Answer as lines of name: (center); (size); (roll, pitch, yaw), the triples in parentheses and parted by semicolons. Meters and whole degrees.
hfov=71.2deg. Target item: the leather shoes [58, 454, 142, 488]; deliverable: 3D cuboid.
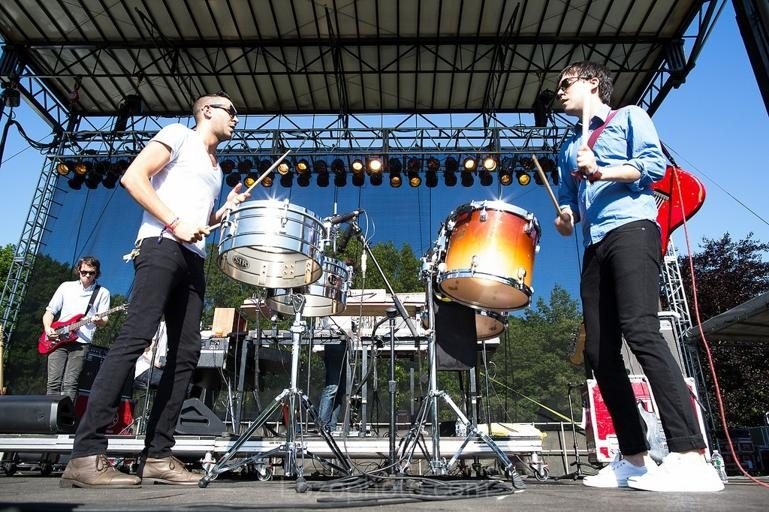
leather shoes: (-2.214, 1.669, 4.235); (0.557, 0.281, 0.248); (0, -19, -4)

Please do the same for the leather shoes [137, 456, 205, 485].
leather shoes: (-1.706, 1.720, 4.372); (0.514, 0.249, 0.202); (4, -17, -15)

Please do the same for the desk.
desk: (-0.159, 0.729, 7.205); (3.062, 1.575, 2.317); (2, -53, -1)

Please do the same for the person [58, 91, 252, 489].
person: (-1.820, 0.161, 4.483); (0.929, 3.222, 0.977); (12, -25, -26)

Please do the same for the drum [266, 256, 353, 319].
drum: (-0.847, 0.443, 6.458); (1.000, 0.437, 1.096); (-5, -24, -2)

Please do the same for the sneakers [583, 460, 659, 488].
sneakers: (1.798, 1.712, 4.231); (0.568, 0.253, 0.211); (-5, -31, 8)

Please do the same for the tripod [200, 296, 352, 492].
tripod: (-0.871, 1.229, 5.040); (1.545, 1.693, 1.518); (-8, -17, 30)

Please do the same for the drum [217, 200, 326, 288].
drum: (-1.135, -0.214, 5.397); (1.086, 0.530, 1.070); (0, -10, 0)

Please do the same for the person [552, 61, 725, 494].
person: (1.851, 0.037, 4.238); (0.867, 3.343, 1.170); (-8, -24, 19)

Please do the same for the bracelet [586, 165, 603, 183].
bracelet: (1.592, -0.644, 4.089); (0.102, 0.106, 0.135); (10, -21, 24)

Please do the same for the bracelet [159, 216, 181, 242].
bracelet: (-1.723, -0.229, 4.302); (0.211, 0.107, 0.155); (-33, -3, -35)

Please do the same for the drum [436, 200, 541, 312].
drum: (1.090, 0.032, 5.700); (1.018, 0.853, 0.994); (27, -25, -29)

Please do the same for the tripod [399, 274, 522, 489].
tripod: (0.627, 1.200, 5.239); (1.028, 1.959, 1.457); (0, -23, 1)
